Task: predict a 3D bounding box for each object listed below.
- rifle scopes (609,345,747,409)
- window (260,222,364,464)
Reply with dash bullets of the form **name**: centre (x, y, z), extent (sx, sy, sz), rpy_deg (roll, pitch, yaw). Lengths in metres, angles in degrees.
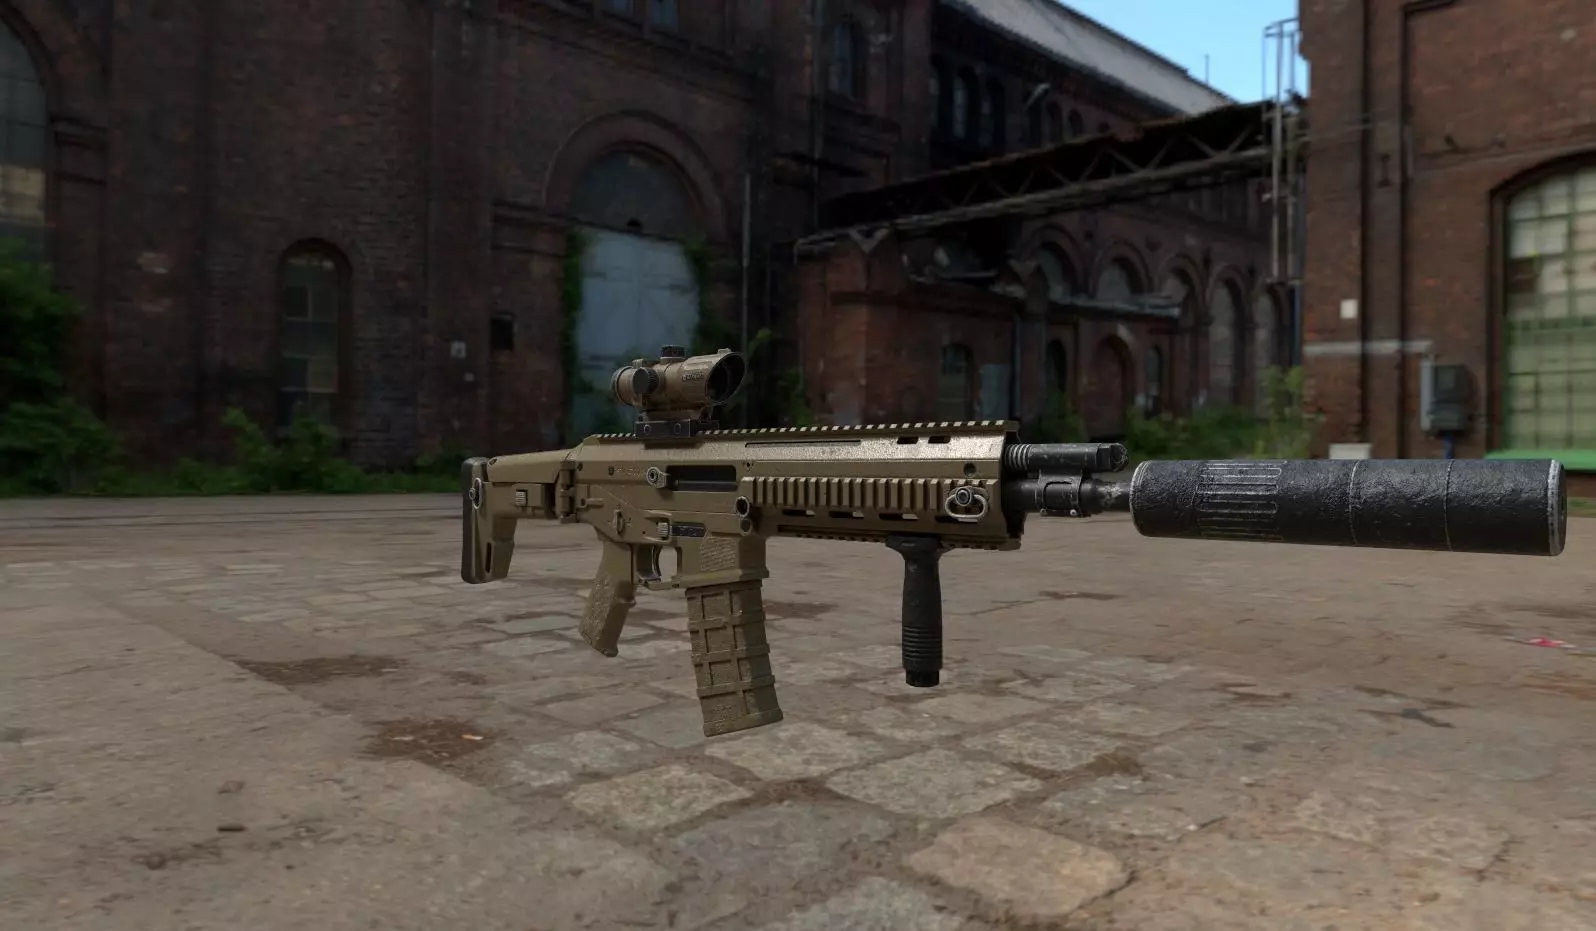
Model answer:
- **rifle scopes**: centre (-1.023, -0.852, 10.453), extent (1.031, 0.434, 0.547), rpy_deg (1, 6, 41)
- **window**: centre (-9.701, -2.597, 24.474), extent (1.546, 4.010, 0.419), rpy_deg (-2, 6, -21)
